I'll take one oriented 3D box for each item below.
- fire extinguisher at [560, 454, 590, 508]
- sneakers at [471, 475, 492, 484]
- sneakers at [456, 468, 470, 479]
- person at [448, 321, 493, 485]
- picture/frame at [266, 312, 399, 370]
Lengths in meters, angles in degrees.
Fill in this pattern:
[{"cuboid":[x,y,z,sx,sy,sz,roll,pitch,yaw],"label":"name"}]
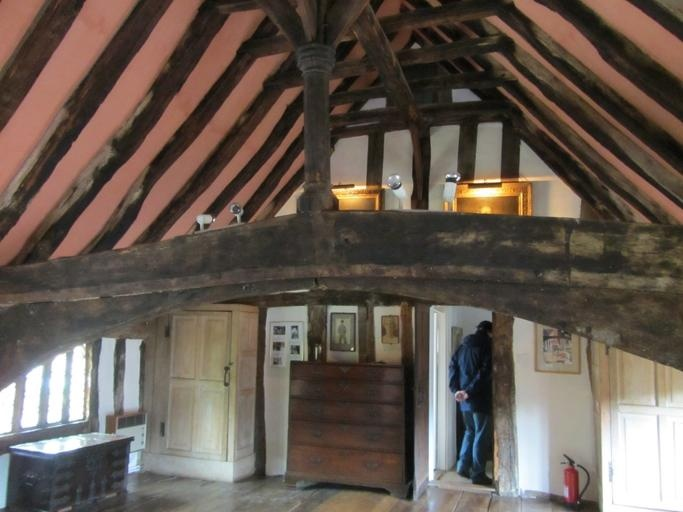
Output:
[{"cuboid":[2.651,2.524,7.468,0.314,0.516,0.246,-1,-2,18],"label":"fire extinguisher"},{"cuboid":[1.713,2.705,8.063,0.249,0.082,0.198,-1,-1,4],"label":"sneakers"},{"cuboid":[1.538,2.739,8.348,0.093,0.049,0.157,2,3,7],"label":"sneakers"},{"cuboid":[1.624,1.784,8.271,0.517,1.952,0.596,-1,-2,5],"label":"person"},{"cuboid":[-0.155,0.988,8.611,1.782,0.684,0.151,-1,-2,21],"label":"picture/frame"}]
